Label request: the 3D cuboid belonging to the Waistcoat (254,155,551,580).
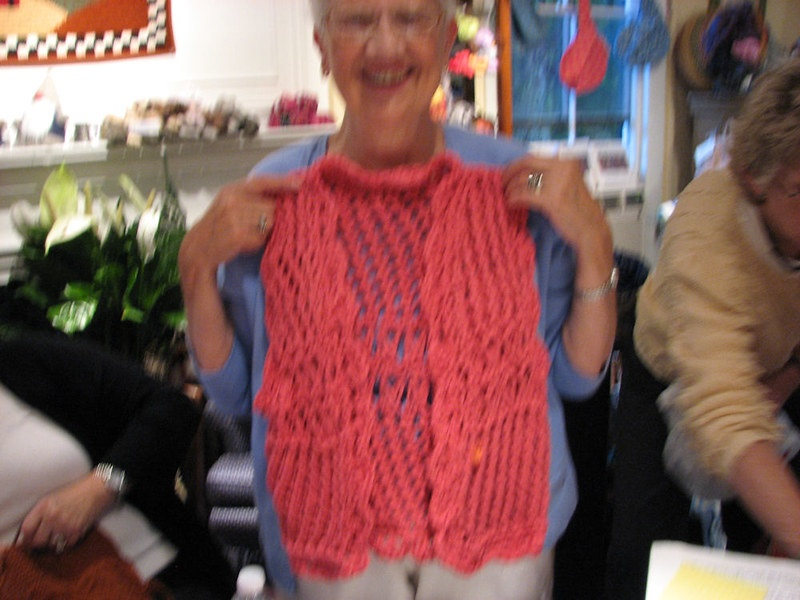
[{"bbox_3d":[0.005,0.074,0.862,0.450,0.723,0.084,-3,0,-4],"label":"Waistcoat"}]
